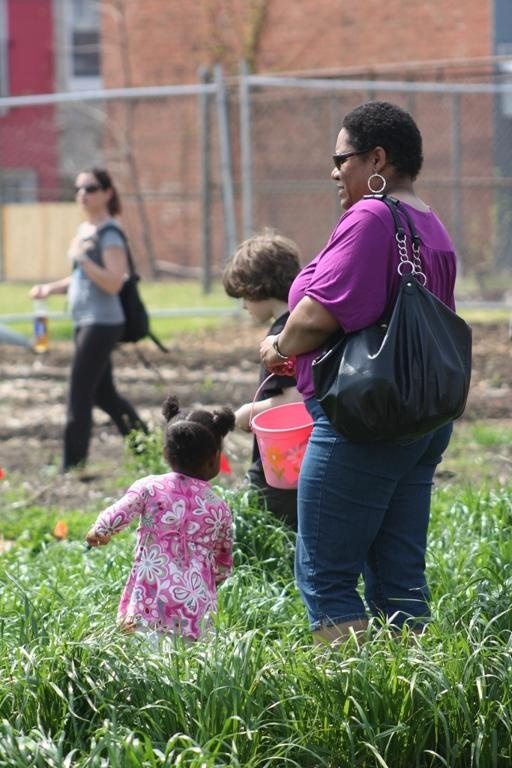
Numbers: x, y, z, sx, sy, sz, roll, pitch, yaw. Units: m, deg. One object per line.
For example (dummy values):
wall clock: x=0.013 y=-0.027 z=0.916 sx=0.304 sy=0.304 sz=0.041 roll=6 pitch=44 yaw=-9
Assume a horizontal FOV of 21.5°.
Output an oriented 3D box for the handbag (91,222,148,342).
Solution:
handbag: x=-0.619 y=-0.467 z=6.406 sx=0.196 sy=0.556 sz=0.394 roll=-1 pitch=4 yaw=5

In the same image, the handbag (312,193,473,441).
handbag: x=0.424 y=-0.197 z=4.143 sx=0.503 sy=0.756 sz=0.305 roll=-1 pitch=4 yaw=1

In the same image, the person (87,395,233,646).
person: x=-0.267 y=0.469 z=4.530 sx=0.524 sy=0.756 sz=0.346 roll=-4 pitch=5 yaw=-41
